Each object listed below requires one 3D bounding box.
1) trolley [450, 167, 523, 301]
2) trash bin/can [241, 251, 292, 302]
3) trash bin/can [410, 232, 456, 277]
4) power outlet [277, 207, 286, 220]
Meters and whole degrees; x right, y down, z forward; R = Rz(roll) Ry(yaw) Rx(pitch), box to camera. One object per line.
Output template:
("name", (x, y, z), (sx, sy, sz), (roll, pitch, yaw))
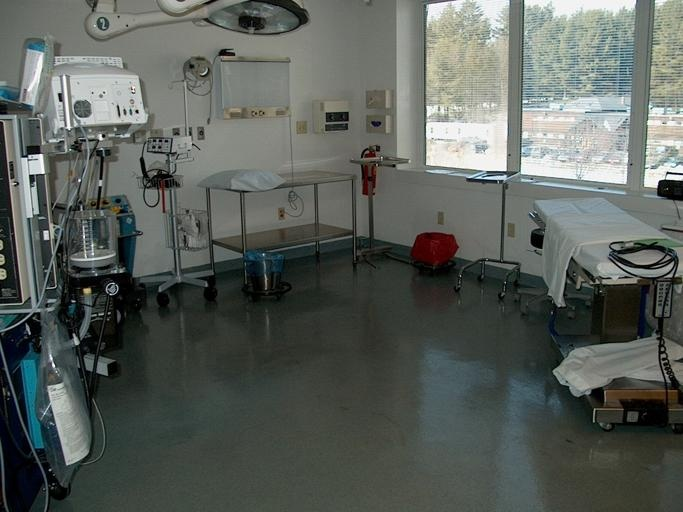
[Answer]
("trolley", (1.448, -0.251, 5.040), (0.625, 1.137, 0.903), (1, 14, 19))
("trash bin/can", (-0.724, 0.169, 4.950), (0.480, 0.418, 0.459), (-2, 6, -14))
("trash bin/can", (1.017, -0.066, 5.644), (0.473, 0.355, 0.477), (-3, 18, -6))
("power outlet", (-0.698, -0.501, 5.999), (0.020, 0.148, 0.105), (9, 18, 44))
